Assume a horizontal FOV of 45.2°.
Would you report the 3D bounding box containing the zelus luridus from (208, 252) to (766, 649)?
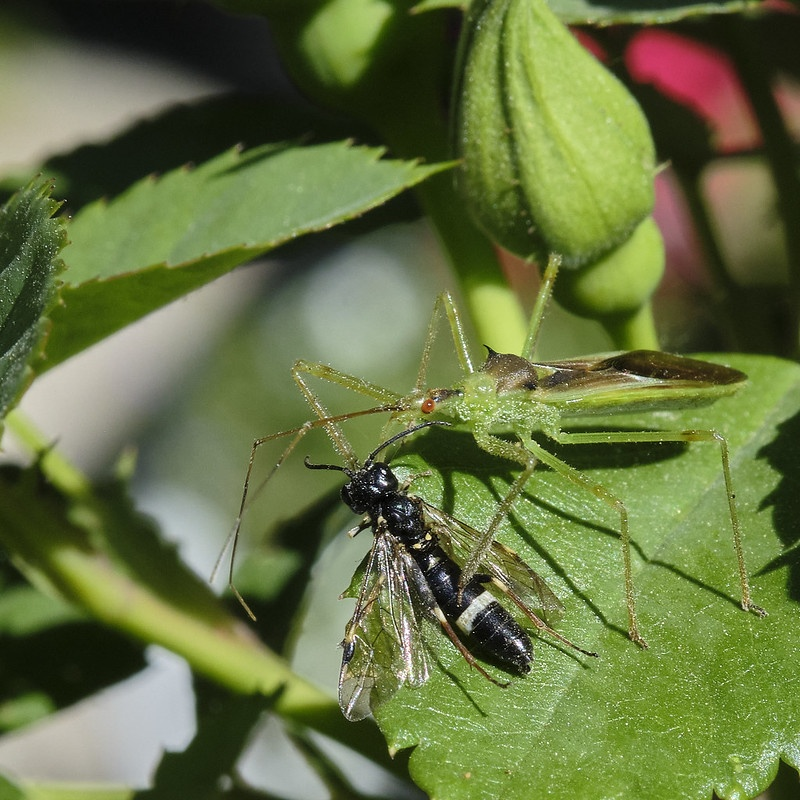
[{"bbox_3d":[0.291,0.007,1.954,0.390,0.801,0.838,-38,38,-27],"label":"zelus luridus"}]
